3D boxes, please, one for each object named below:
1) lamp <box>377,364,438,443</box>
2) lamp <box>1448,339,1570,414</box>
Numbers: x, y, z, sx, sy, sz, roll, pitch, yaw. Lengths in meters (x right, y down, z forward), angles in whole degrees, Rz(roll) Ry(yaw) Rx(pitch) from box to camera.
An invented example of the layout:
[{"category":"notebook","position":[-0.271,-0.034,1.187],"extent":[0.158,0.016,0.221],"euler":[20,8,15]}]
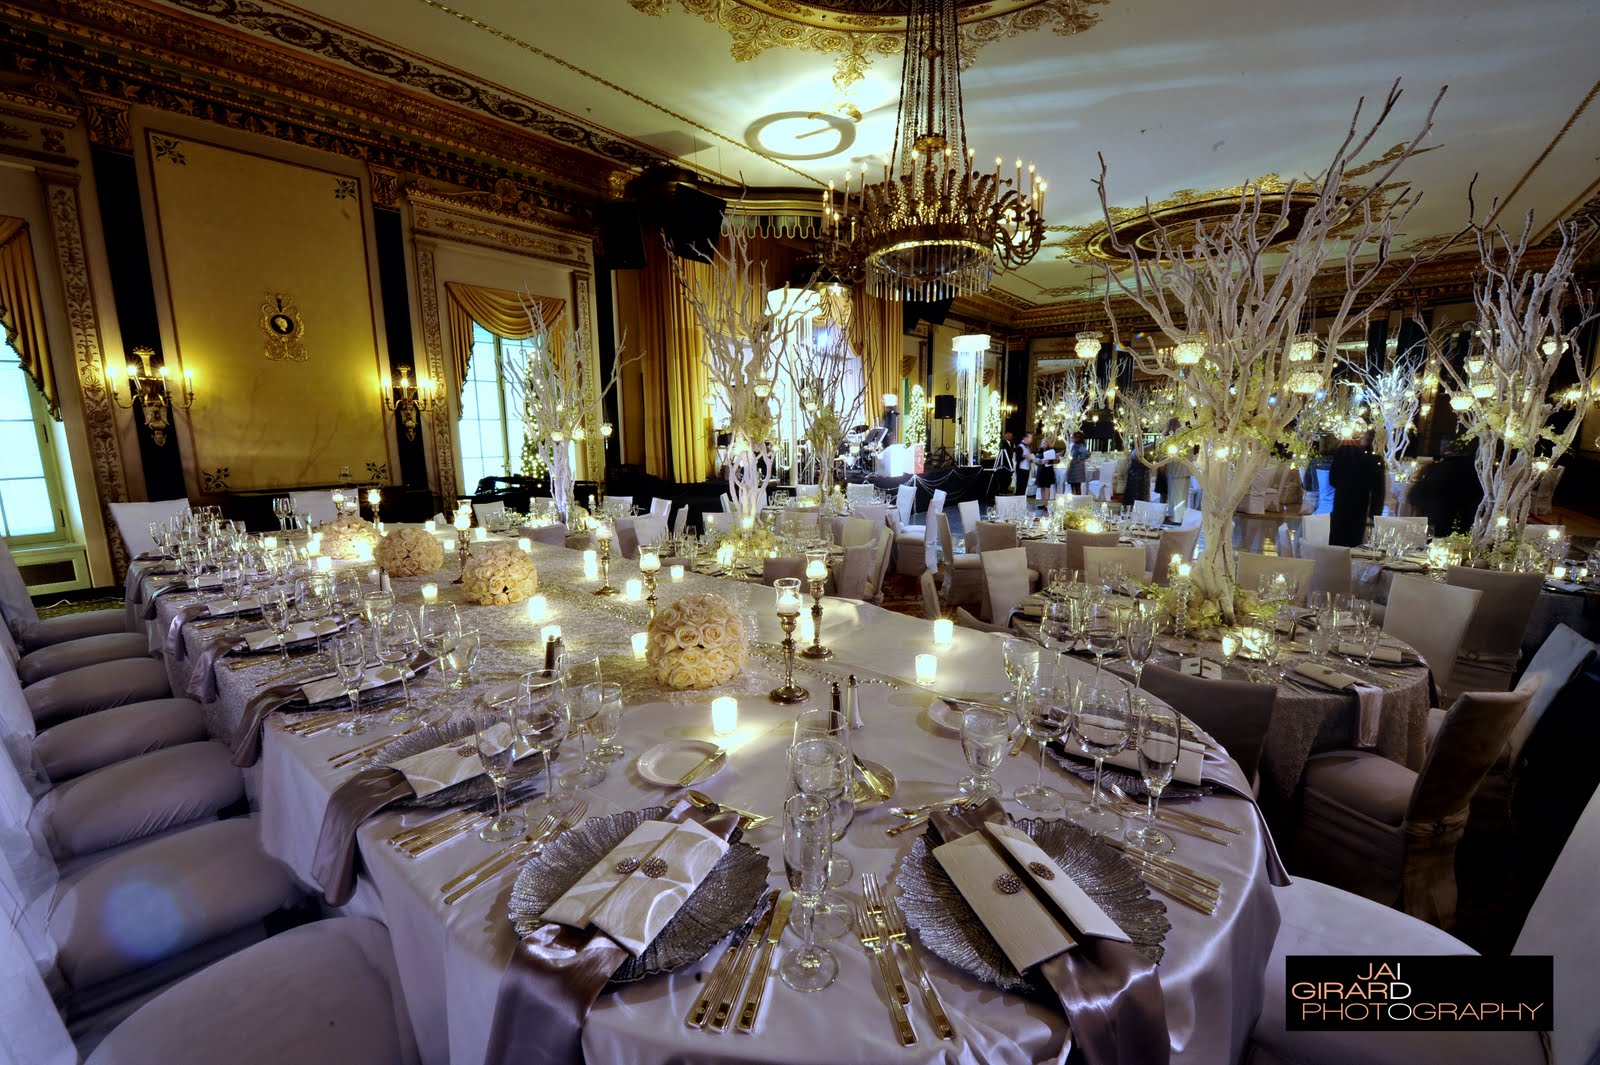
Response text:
[{"category":"lamp","position":[-4.347,-1.445,10.204],"extent":[0.258,0.966,0.702],"euler":[9,13,34]},{"category":"lamp","position":[5.553,-1.235,7.284],"extent":[0.690,0.600,0.822],"euler":[6,10,40]}]
